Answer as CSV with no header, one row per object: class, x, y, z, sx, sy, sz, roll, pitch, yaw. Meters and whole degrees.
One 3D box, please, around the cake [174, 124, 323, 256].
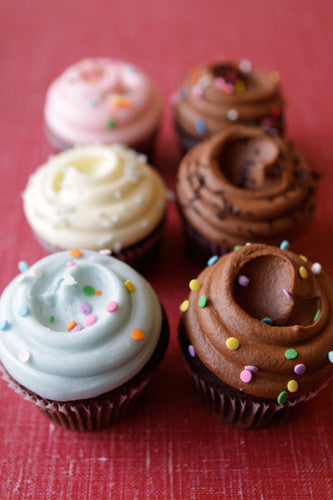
cake,0.377,-0.358,2.586,0.650,0.529,0.578,-1,57,-2
